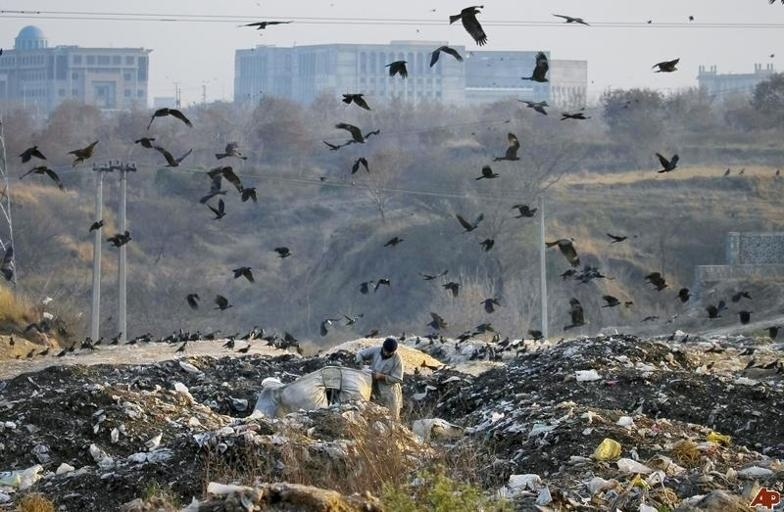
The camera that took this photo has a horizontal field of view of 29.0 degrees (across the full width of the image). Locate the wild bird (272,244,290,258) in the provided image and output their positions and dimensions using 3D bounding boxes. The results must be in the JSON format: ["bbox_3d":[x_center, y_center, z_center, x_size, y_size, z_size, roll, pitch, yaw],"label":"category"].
[{"bbox_3d":[-8.492,-0.188,117.341,1.028,0.576,1.043,16,-1,-41],"label":"wild bird"}]
